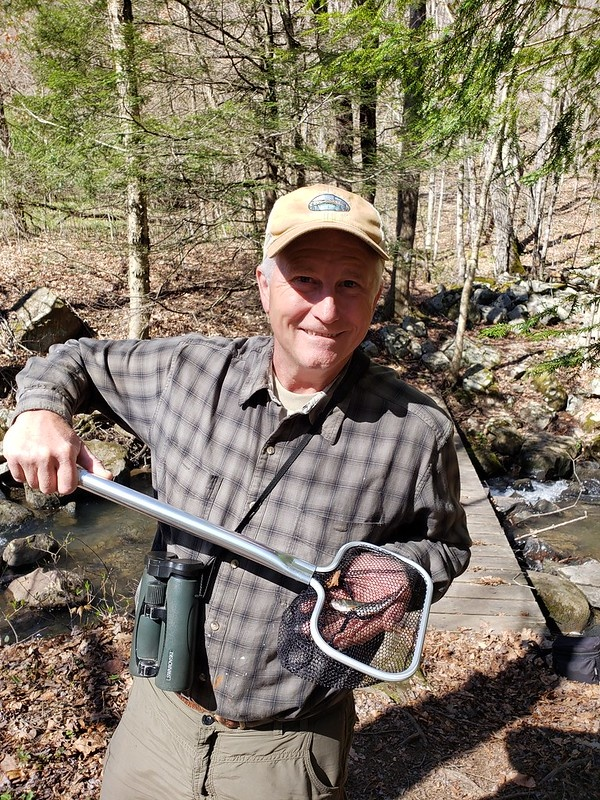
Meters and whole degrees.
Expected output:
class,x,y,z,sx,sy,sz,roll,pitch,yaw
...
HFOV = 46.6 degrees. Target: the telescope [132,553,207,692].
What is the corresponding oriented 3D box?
class,x,y,z,sx,sy,sz,roll,pitch,yaw
telescope,-0.401,0.641,2.012,0.189,0.357,0.177,3,21,11
